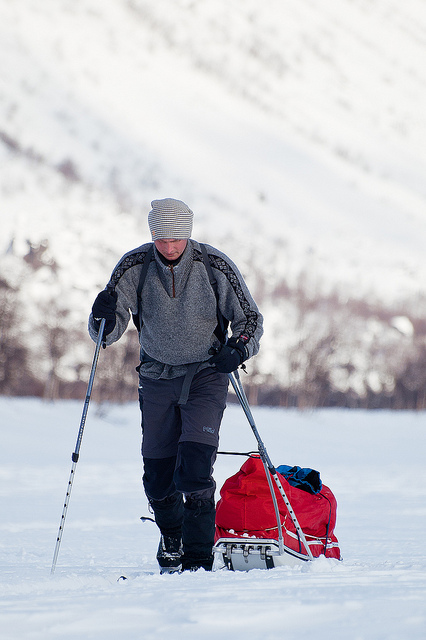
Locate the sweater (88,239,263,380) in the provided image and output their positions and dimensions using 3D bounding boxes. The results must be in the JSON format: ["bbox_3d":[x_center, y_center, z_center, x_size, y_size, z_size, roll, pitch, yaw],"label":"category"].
[{"bbox_3d":[-0.180,-0.052,4.602,0.949,0.629,0.440,4,13,14],"label":"sweater"}]

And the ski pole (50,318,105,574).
[{"bbox_3d":[-1.532,1.330,10.451,0.051,1.956,0.099,12,-8,16],"label":"ski pole"}]

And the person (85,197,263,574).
[{"bbox_3d":[-0.218,0.318,4.632,0.840,1.342,0.460,8,-4,2],"label":"person"}]

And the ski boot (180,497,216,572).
[{"bbox_3d":[-0.071,1.044,4.525,0.183,0.255,0.166,8,-4,1],"label":"ski boot"}]

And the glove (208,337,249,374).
[{"bbox_3d":[0.090,0.171,4.505,0.111,0.121,0.223,5,-4,30],"label":"glove"}]

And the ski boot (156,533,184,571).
[{"bbox_3d":[-0.216,1.171,4.683,0.117,0.133,0.208,8,-4,-5],"label":"ski boot"}]

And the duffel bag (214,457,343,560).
[{"bbox_3d":[0.301,1.132,5.277,0.681,0.509,0.961,-10,-20,24],"label":"duffel bag"}]
